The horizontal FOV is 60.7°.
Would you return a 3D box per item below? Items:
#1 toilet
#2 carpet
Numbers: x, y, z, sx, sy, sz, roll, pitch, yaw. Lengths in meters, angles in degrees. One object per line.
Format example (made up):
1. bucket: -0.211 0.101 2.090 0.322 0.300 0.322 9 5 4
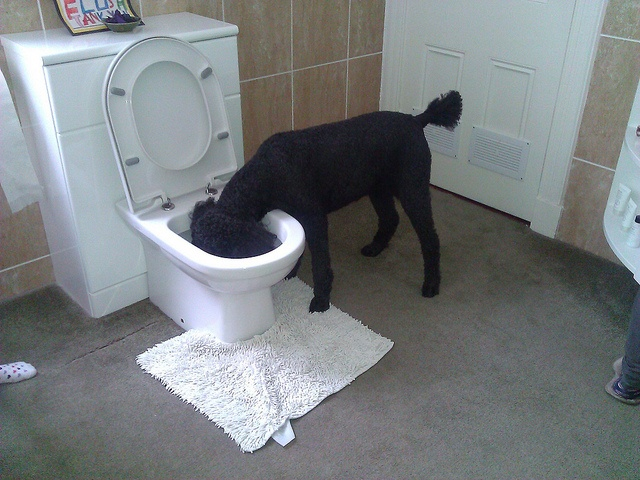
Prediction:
1. toilet: -0.399 -0.145 2.047 0.478 1.055 0.708 -25 40 -37
2. carpet: -0.203 0.442 2.111 0.673 0.091 0.775 29 44 35
